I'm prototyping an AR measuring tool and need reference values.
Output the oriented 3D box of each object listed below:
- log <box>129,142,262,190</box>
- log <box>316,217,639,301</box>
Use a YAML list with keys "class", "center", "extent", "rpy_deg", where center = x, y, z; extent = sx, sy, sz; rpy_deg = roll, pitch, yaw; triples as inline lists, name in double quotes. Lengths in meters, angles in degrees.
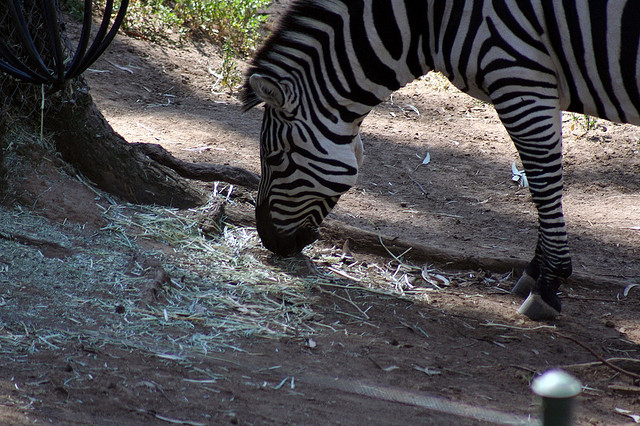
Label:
- class: "log"
  center: [-1.064, -0.382, 5.460]
  extent: [1.290, 0.152, 0.187]
  rpy_deg: [14, 20, -17]
- class: "log"
  center: [1.173, 0.368, 4.945]
  extent: [2.017, 0.172, 0.271]
  rpy_deg: [9, -30, -2]
